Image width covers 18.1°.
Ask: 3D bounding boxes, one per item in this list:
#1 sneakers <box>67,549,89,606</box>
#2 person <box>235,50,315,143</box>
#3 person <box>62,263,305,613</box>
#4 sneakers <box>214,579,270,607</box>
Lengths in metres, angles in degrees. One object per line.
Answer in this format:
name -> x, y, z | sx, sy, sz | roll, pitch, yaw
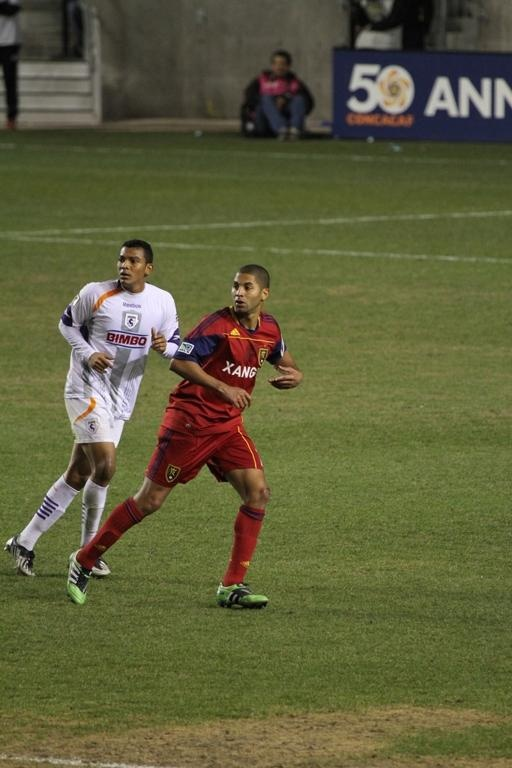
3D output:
sneakers -> -0.770, 0.862, 7.213 | 0.126, 0.242, 0.087 | -4, -2, 44
person -> 0.263, -3.230, 18.533 | 0.626, 0.737, 0.876 | -2, 12, -12
person -> -0.280, 0.229, 7.159 | 1.019, 1.533, 0.536 | 2, 8, -11
sneakers -> -0.067, 0.939, 7.180 | 0.257, 0.117, 0.090 | 1, -1, 5
